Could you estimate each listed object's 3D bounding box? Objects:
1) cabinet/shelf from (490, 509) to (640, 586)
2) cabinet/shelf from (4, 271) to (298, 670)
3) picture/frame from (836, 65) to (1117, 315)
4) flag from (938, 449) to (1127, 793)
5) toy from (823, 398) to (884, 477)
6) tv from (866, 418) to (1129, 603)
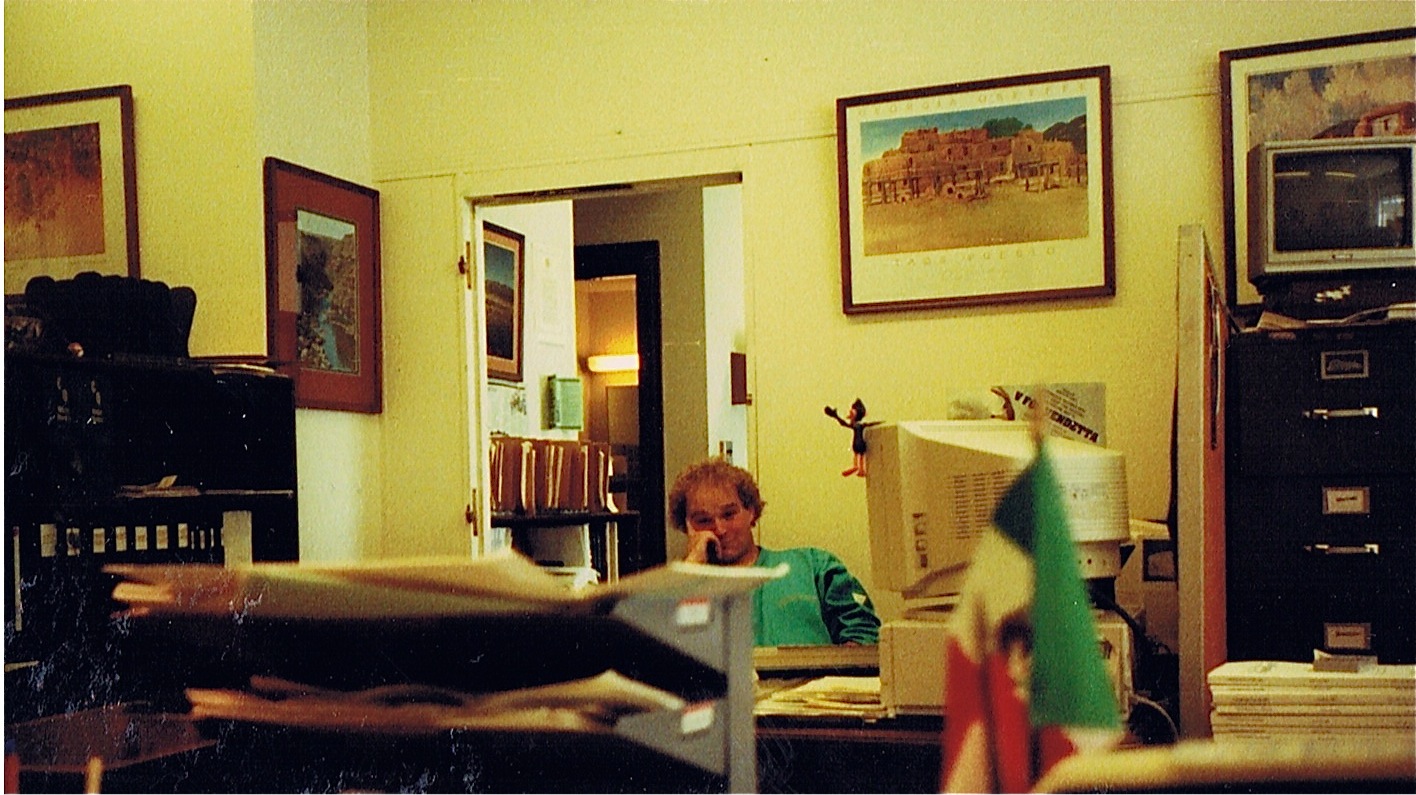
[{"bbox_3d":[-0.827,0.813,7.489,0.553,0.513,0.544,0,-2,-1],"label":"cabinet/shelf"},{"bbox_3d":[-2.395,0.363,5.520,0.966,1.695,1.718,-2,1,0],"label":"cabinet/shelf"},{"bbox_3d":[1.362,-0.998,6.322,1.227,0.938,0.057,-2,-1,16],"label":"picture/frame"},{"bbox_3d":[1.061,0.725,4.345,0.597,1.049,0.410,-3,-2,11],"label":"flag"},{"bbox_3d":[0.591,0.149,5.260,0.115,0.313,0.330,-13,-20,36],"label":"toy"},{"bbox_3d":[1.029,0.323,4.680,0.697,0.531,0.722,-1,0,-39],"label":"tv"}]
